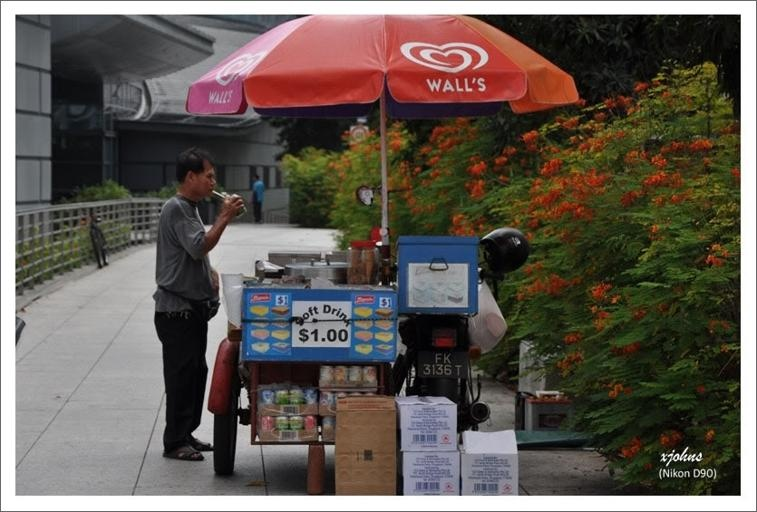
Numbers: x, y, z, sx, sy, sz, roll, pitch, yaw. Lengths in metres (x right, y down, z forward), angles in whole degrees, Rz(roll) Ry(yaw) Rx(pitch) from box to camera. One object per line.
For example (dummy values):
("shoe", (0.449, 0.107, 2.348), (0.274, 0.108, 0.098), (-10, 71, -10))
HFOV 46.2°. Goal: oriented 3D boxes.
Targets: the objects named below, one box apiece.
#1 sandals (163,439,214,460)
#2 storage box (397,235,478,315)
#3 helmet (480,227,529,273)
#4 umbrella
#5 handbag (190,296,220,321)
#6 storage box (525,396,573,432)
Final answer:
("sandals", (-1.874, 1.902, 8.663), (0.290, 0.082, 0.218), (-1, 0, 16))
("storage box", (0.525, 0.204, 8.322), (0.729, 0.654, 0.710), (0, -3, -2))
("helmet", (1.185, -0.088, 8.595), (0.525, 0.495, 0.501), (1, -2, 44))
("umbrella", (0.021, -1.263, 9.269), (3.490, 1.830, 3.226), (1, -1, 20))
("handbag", (-1.693, 0.509, 8.693), (0.196, 0.213, 0.244), (1, -23, -3))
("storage box", (1.852, 1.702, 9.478), (0.436, 0.380, 0.321), (-1, 8, 13))
